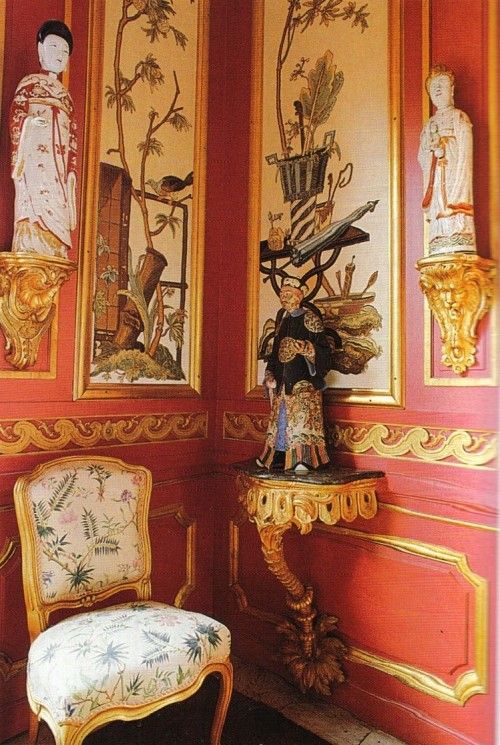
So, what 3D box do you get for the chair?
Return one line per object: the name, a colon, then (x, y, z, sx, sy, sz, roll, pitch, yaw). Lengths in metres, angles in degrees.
chair: (-0.361, 0.716, 2.020, 0.593, 0.696, 0.730, -2, 1, -3)
